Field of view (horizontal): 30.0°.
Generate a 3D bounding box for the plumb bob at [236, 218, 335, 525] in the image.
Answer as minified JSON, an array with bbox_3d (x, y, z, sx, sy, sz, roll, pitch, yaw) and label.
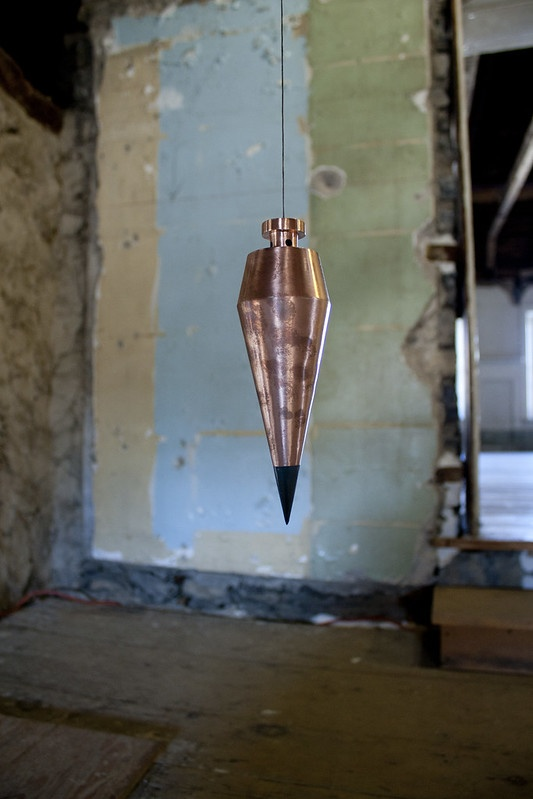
[{"bbox_3d":[0.053,-0.066,2.093,0.355,0.318,0.583,1,87,-2],"label":"plumb bob"}]
